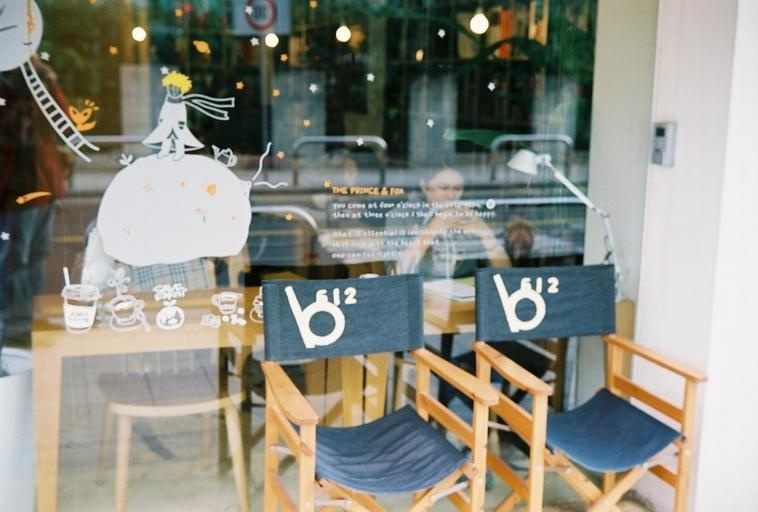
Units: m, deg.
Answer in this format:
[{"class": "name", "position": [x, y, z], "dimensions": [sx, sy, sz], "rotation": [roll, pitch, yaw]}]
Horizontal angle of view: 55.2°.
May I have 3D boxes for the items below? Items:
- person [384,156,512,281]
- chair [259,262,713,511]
[{"class": "person", "position": [0.445, -0.016, 4.269], "dimensions": [0.466, 1.030, 0.310], "rotation": [-1, 24, 9]}, {"class": "chair", "position": [0.519, 0.719, 3.695], "dimensions": [2.148, 1.270, 0.723], "rotation": [-6, 10, -13]}]
